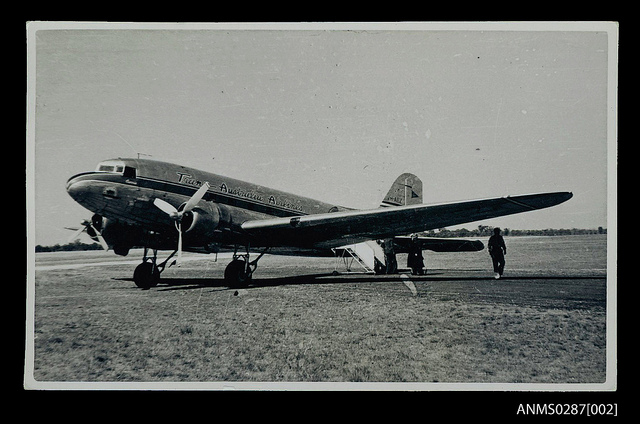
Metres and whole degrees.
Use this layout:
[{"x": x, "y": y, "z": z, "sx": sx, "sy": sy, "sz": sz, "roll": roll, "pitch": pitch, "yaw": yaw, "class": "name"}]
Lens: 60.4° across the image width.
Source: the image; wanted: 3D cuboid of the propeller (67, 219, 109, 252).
[{"x": -4.237, "y": 0.438, "z": 10.031, "sx": 0.227, "sy": 0.587, "sz": 0.777, "roll": 1, "pitch": -1, "yaw": 23, "class": "propeller"}]

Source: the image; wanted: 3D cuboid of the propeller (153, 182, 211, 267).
[{"x": -2.510, "y": 0.210, "z": 10.007, "sx": 1.005, "sy": 1.553, "sz": 0.419, "roll": 1, "pitch": -1, "yaw": -16, "class": "propeller"}]

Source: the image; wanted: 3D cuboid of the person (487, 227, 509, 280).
[{"x": 3.211, "y": 0.780, "z": 9.917, "sx": 0.346, "sy": 0.820, "sz": 0.115, "roll": 1, "pitch": -1, "yaw": 16, "class": "person"}]
